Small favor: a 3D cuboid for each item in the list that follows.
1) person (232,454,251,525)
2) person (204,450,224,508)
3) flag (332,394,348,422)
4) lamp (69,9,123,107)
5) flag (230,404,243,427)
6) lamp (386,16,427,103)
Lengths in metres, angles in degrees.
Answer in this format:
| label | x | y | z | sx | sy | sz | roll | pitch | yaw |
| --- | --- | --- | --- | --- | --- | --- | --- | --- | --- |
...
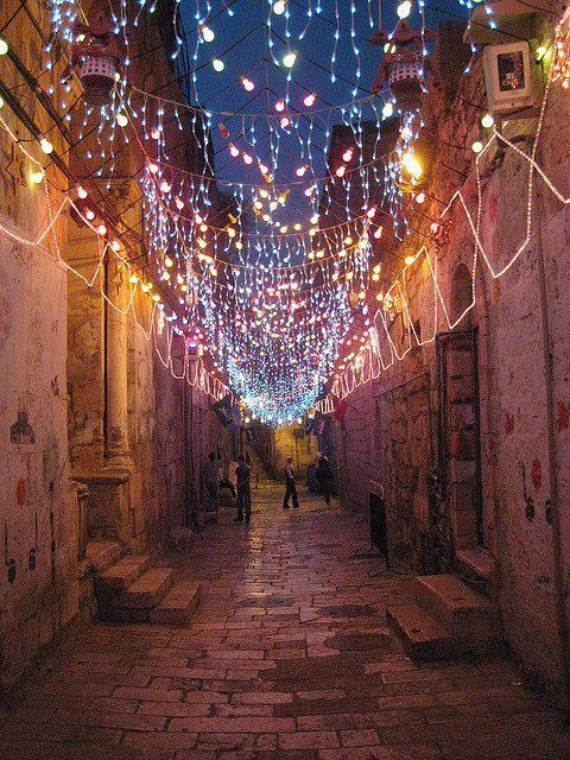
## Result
| label | x | y | z | sx | sy | sz | roll | pitch | yaw |
| --- | --- | --- | --- | --- | --- | --- | --- | --- | --- |
| person | -1.060 | 2.691 | 15.172 | 0.351 | 1.598 | 1.944 | -1 | -6 | -5 |
| person | -1.821 | 2.528 | 15.232 | 0.372 | 1.411 | 1.053 | -1 | -5 | -7 |
| flag | 1.724 | 0.864 | 18.920 | 0.057 | 1.098 | 0.818 | -2 | 0 | -19 |
| lamp | -1.355 | -2.360 | 4.349 | 0.346 | 0.752 | 0.368 | 0 | -5 | -12 |
| flag | -1.841 | 1.323 | 22.725 | 0.247 | 1.257 | 0.962 | 1 | -10 | 11 |
| lamp | 0.801 | -2.105 | 4.081 | 0.255 | 0.524 | 0.266 | -3 | -5 | 15 |
